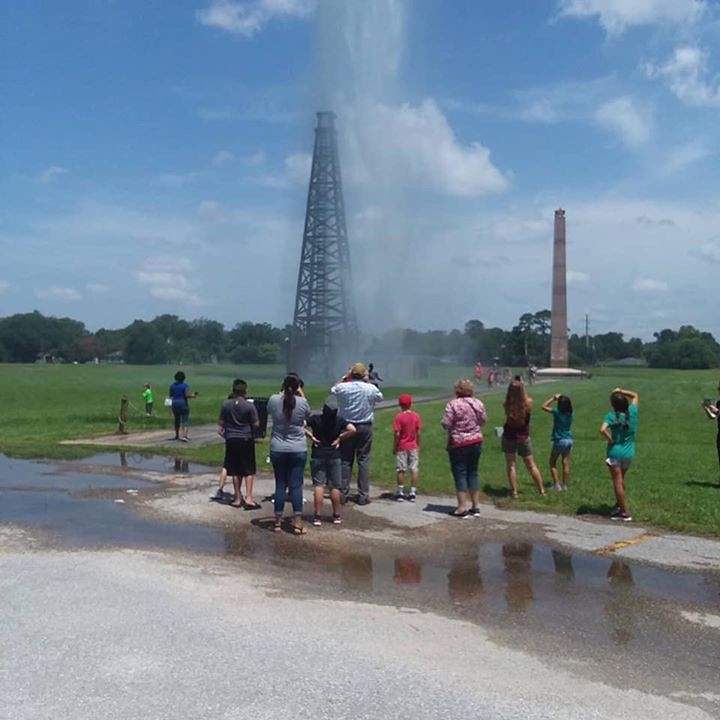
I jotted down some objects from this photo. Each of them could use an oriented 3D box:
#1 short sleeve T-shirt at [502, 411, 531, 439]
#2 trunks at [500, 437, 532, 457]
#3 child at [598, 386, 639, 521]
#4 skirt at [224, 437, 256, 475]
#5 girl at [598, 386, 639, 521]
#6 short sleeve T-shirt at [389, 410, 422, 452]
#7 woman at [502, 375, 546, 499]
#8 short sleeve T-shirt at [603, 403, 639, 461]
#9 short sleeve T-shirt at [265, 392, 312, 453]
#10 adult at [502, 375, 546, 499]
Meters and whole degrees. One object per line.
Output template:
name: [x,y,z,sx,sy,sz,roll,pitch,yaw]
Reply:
short sleeve T-shirt: [2.510,1.033,11.862,0.447,0.449,0.436,0,-2,18]
trunks: [2.543,1.368,11.973,0.481,0.490,0.295,2,7,21]
child: [3.652,1.285,10.466,0.785,1.830,0.527,2,-1,-41]
skirt: [-1.803,1.424,11.059,0.568,0.734,0.406,0,5,-7]
girl: [3.662,1.288,10.461,0.840,1.837,0.535,2,-1,-43]
short sleeve T-shirt: [0.738,1.083,11.548,0.390,0.618,0.418,0,-2,8]
woman: [2.821,1.253,12.694,0.709,1.971,2.631,0,-2,12]
short sleeve T-shirt: [3.661,0.991,10.332,0.443,0.765,0.460,0,-2,16]
short sleeve T-shirt: [-0.943,0.815,9.789,0.543,0.793,0.393,1,-2,-8]
adult: [2.812,1.252,12.650,0.709,1.971,2.542,0,-2,12]
